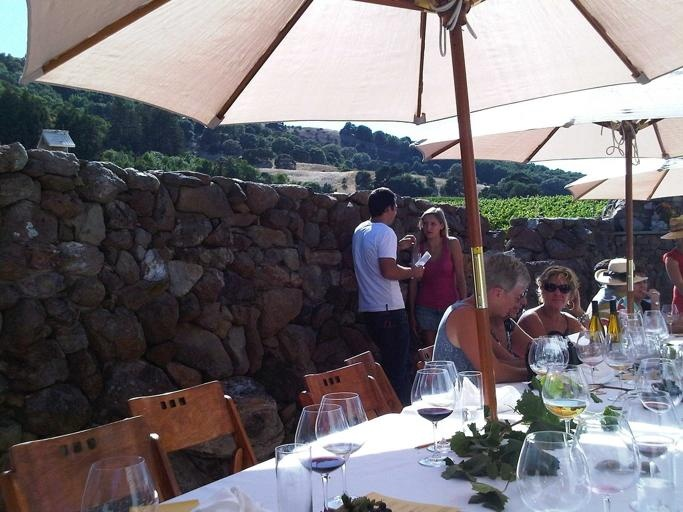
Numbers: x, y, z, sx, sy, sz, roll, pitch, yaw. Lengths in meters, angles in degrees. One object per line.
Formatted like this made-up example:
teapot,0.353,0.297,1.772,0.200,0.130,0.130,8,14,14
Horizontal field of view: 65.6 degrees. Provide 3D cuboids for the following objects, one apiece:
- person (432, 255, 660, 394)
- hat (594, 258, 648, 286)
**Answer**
person,1.071,0.381,3.249,0.916,0.849,0.656,-4,0,21
hat,3.303,0.185,6.334,0.499,0.213,0.459,3,18,30
